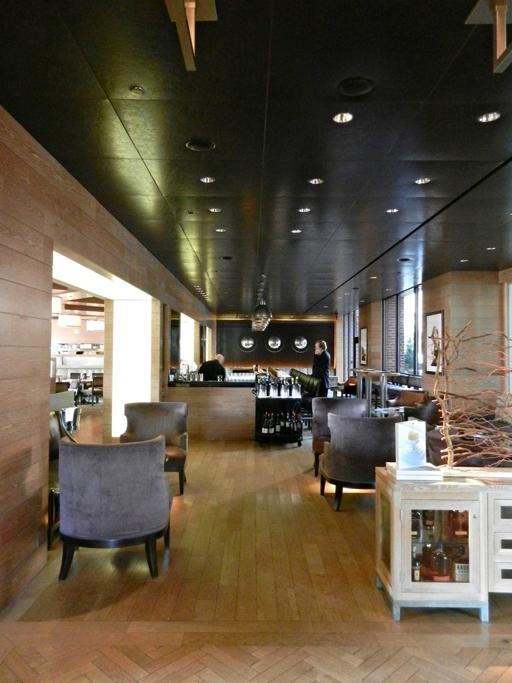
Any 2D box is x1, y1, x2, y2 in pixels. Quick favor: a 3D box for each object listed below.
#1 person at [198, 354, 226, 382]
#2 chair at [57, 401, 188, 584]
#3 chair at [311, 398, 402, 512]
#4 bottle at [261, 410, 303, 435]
[{"bbox_3d":[-0.786,0.469,9.161,0.456,0.452,1.042,1,-1,-4],"label":"person"},{"bbox_3d":[-0.865,0.998,3.566,0.966,1.252,1.055,1,-5,-3],"label":"chair"},{"bbox_3d":[0.878,1.047,4.836,0.845,1.132,0.928,1,-4,6],"label":"chair"},{"bbox_3d":[0.386,1.294,7.755,0.621,0.418,0.318,1,-1,-2],"label":"bottle"}]
